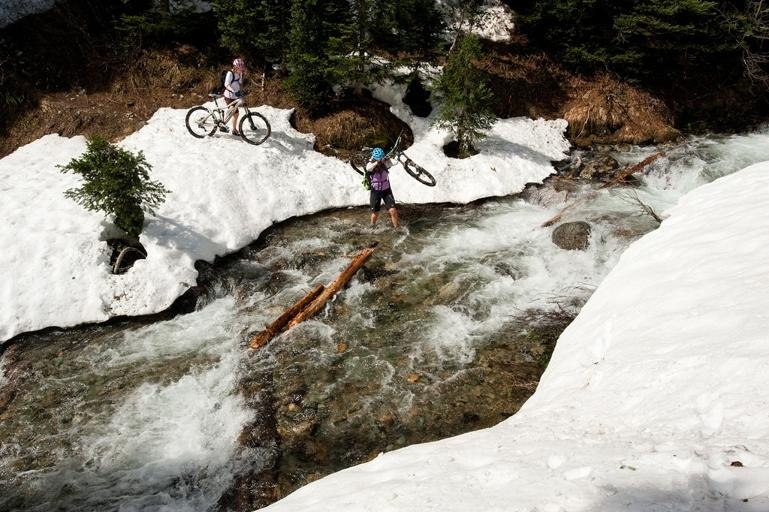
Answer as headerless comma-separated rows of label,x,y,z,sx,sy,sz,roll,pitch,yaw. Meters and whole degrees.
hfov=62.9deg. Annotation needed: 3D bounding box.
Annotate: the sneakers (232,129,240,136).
sneakers,-6.067,-5.047,25.686,0.399,0.133,0.265,-8,7,-3
